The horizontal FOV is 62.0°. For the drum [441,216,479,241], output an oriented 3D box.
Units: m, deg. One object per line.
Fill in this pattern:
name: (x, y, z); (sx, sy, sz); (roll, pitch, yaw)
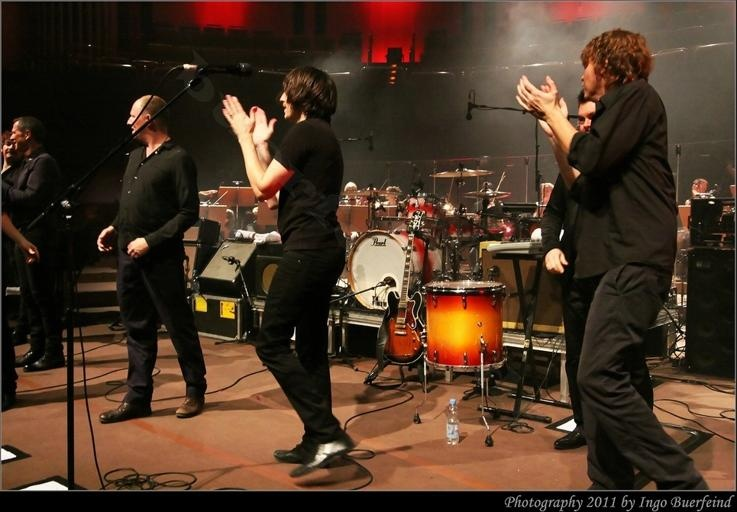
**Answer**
drum: (1.150, -0.362, 7.905); (0.460, 0.165, 0.445); (1, 7, 0)

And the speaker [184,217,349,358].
speaker: (-1.231, 0.328, 7.389); (1.363, 1.883, 1.706); (0, -1, 40)

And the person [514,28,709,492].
person: (1.425, 0.066, 3.476); (0.988, 2.681, 0.554); (6, 9, 41)

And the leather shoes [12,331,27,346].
leather shoes: (-3.387, 0.799, 5.973); (0.135, 0.100, 0.131); (1, -4, 0)

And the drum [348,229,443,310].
drum: (0.205, 0.102, 6.010); (0.774, 0.720, 0.646); (13, 19, 29)

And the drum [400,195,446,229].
drum: (0.822, -0.654, 8.552); (0.586, 0.445, 0.623); (2, 2, 0)

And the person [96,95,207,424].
person: (-1.589, 0.075, 4.502); (0.703, 2.211, 0.358); (-2, 7, -16)

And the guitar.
guitar: (0.284, 0.278, 5.353); (0.385, 1.312, 0.544); (0, 7, 4)

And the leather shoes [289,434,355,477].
leather shoes: (-0.296, 1.227, 3.837); (0.390, 0.245, 0.165); (0, 7, -6)

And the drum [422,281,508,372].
drum: (0.714, 0.520, 4.683); (0.646, 0.590, 0.648); (0, -4, 4)

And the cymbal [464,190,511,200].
cymbal: (1.918, -0.987, 9.864); (0.524, 0.124, 0.526); (0, 1, -2)

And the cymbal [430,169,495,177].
cymbal: (1.430, -1.267, 9.360); (0.405, 0.095, 0.417); (6, 15, 36)

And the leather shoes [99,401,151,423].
leather shoes: (-1.771, 1.138, 4.515); (0.391, 0.149, 0.128); (6, -6, -29)

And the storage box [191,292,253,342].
storage box: (-1.601, 0.645, 6.841); (0.707, 0.468, 0.411); (6, 8, 21)

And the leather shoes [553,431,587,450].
leather shoes: (1.355, 1.243, 4.177); (0.268, 0.105, 0.093); (-5, 2, -18)

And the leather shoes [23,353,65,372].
leather shoes: (-2.851, 0.949, 5.439); (0.370, 0.143, 0.126); (3, -4, -25)

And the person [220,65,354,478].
person: (-0.457, 0.079, 3.873); (0.709, 2.509, 0.503); (0, 7, -1)

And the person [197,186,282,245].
person: (-1.614, -0.471, 7.487); (0.933, 0.862, 0.366); (-1, 3, -5)
